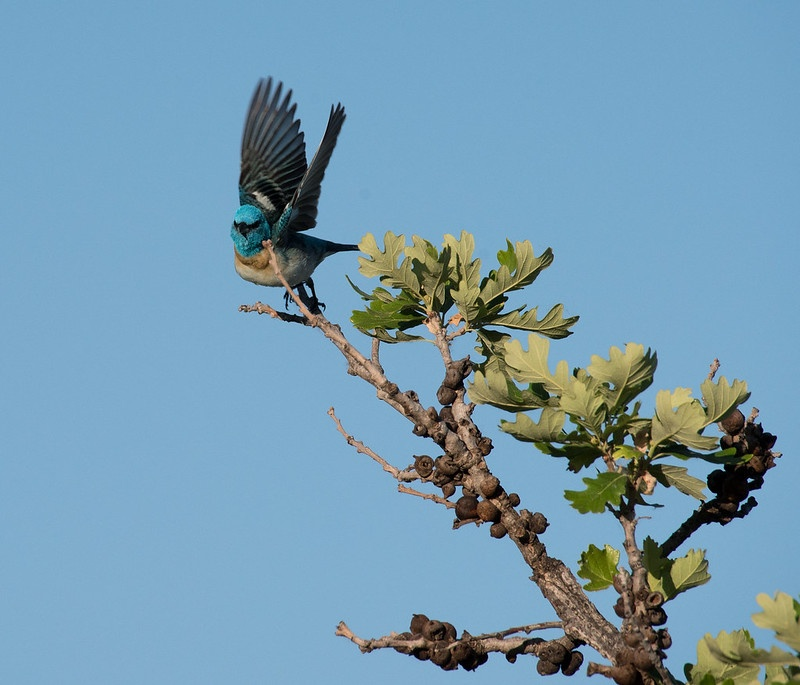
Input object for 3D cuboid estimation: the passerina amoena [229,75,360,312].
[{"bbox_3d":[-0.745,-0.977,13.549,1.213,1.691,1.506,-10,-74,-32],"label":"passerina amoena"}]
